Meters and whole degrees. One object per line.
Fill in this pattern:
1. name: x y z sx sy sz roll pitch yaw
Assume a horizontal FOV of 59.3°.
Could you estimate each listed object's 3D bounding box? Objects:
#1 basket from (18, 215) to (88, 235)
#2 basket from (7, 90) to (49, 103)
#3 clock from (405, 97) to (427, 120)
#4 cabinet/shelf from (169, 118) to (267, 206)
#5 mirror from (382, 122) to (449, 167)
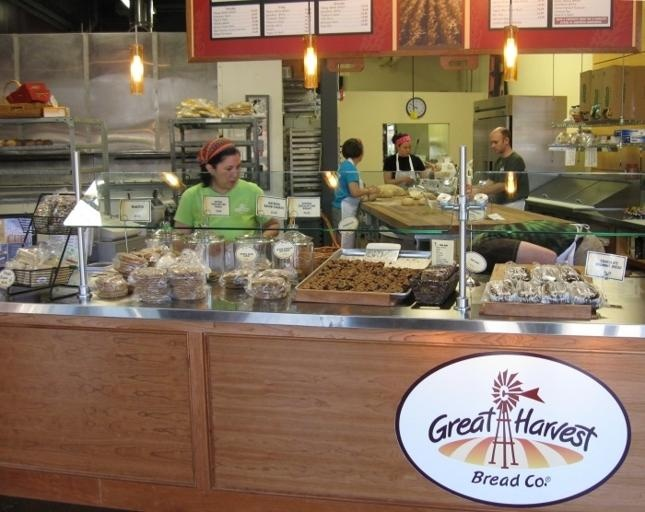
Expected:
1. basket: -1.327 -0.145 2.762 0.449 0.099 0.172 5 11 34
2. basket: -3.124 -1.694 5.992 0.324 0.103 0.192 3 16 14
3. clock: 1.756 -2.742 10.556 0.429 0.427 0.125 -7 12 -30
4. cabinet/shelf: -1.159 -1.181 6.248 0.640 0.791 0.744 -9 30 -27
5. mirror: 1.800 -2.139 10.877 0.026 0.839 1.560 -17 19 -42
